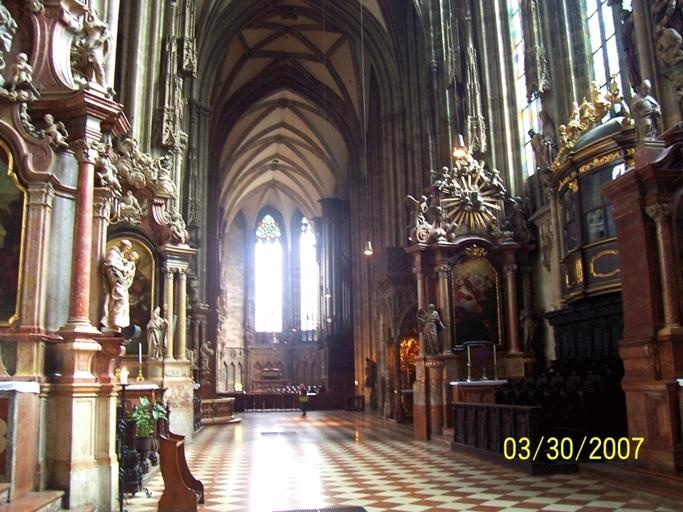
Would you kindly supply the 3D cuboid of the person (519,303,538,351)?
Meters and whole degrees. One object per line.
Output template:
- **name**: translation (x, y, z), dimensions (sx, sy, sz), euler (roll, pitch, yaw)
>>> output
- **person**: translation (4.789, 1.906, 15.949), dimensions (0.432, 1.096, 0.383), euler (-3, -9, 17)

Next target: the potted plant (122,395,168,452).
- **potted plant**: translation (-2.939, 2.537, 9.359), dimensions (0.470, 0.570, 0.459), euler (15, -18, -12)

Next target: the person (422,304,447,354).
- **person**: translation (2.286, 1.833, 15.627), dimensions (0.429, 1.239, 0.617), euler (-9, -12, 43)
